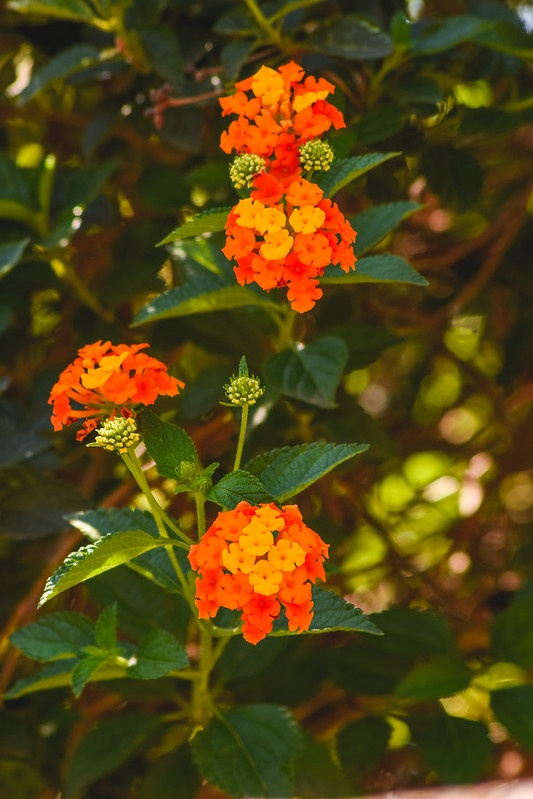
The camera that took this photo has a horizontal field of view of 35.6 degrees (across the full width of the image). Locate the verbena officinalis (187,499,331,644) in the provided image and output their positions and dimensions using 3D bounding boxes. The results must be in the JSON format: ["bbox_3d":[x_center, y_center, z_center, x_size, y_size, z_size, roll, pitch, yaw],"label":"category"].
[{"bbox_3d":[-0.017,0.195,1.055,0.187,0.164,0.204,-1,6,-7],"label":"verbena officinalis"}]

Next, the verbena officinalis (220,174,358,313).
[{"bbox_3d":[0.033,-0.196,1.095,0.159,0.173,0.145,-34,45,-10],"label":"verbena officinalis"}]
